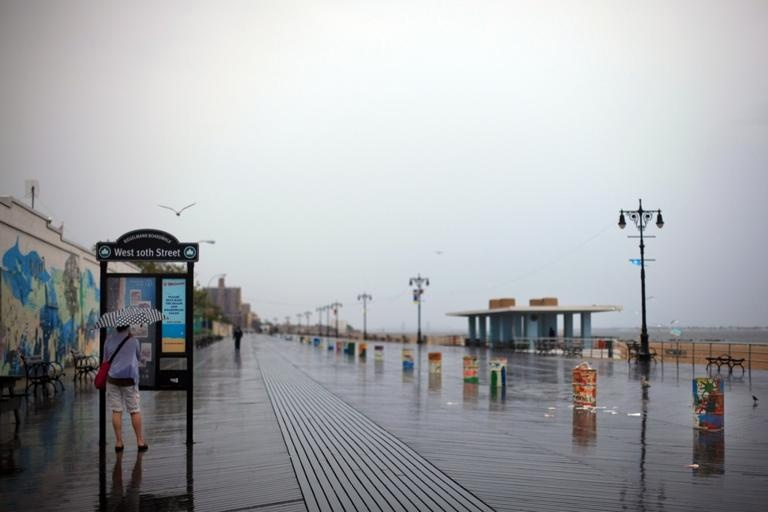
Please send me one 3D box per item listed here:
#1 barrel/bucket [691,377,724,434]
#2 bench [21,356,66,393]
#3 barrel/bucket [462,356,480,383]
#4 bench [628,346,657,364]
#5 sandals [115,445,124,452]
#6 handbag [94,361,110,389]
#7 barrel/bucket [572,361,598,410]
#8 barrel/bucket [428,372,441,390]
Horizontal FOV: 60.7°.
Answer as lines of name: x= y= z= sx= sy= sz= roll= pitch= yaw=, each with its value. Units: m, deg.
barrel/bucket: x=8.439 y=3.863 z=17.032 sx=0.785 sy=1.315 sz=0.614 roll=-1 pitch=-6 yaw=13
bench: x=-12.671 y=4.437 z=24.301 sx=1.223 sy=1.693 sz=1.196 roll=-12 pitch=-13 yaw=23
barrel/bucket: x=3.591 y=4.709 z=26.987 sx=0.541 sy=1.009 sz=0.999 roll=0 pitch=-6 yaw=5
bench: x=16.767 y=6.593 z=42.283 sx=1.643 sy=1.529 sz=2.175 roll=-3 pitch=-11 yaw=19
sandals: x=-5.791 y=4.243 z=14.366 sx=0.122 sy=0.181 sz=0.175 roll=6 pitch=-11 yaw=-4
handbag: x=-6.146 y=2.615 z=14.364 sx=0.260 sy=0.598 sz=0.288 roll=3 pitch=-6 yaw=-25
barrel/bucket: x=6.126 y=4.010 z=20.063 sx=0.501 sy=1.288 sz=0.773 roll=3 pitch=-6 yaw=-24
barrel/bucket: x=2.139 y=5.252 z=27.207 sx=0.399 sy=0.586 sz=0.584 roll=-1 pitch=-2 yaw=5
